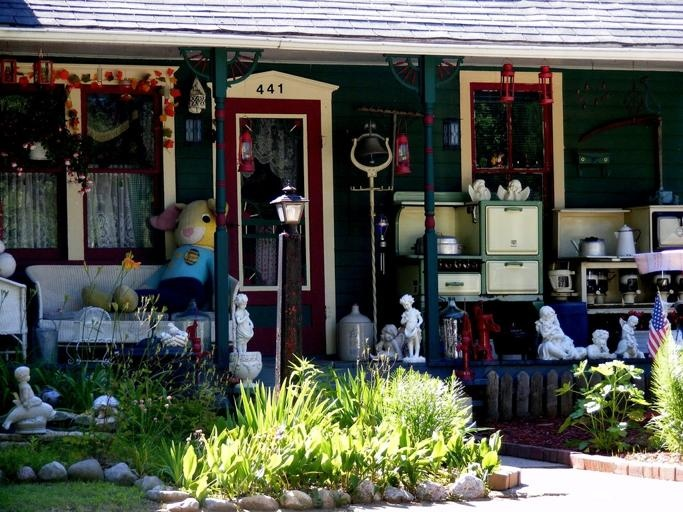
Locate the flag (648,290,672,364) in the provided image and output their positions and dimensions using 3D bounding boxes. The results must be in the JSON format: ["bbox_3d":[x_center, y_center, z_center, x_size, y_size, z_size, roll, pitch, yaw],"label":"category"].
[{"bbox_3d":[3.387,0.765,12.750,0.203,0.956,0.311,1,5,8],"label":"flag"}]

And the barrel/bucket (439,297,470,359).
[{"bbox_3d":[1.275,0.809,13.413,0.322,0.682,1.191,-1,-4,4],"label":"barrel/bucket"}]

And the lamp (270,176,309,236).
[{"bbox_3d":[-0.441,-0.445,11.068,0.263,0.738,0.449,0,-2,-13],"label":"lamp"}]

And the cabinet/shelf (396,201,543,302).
[{"bbox_3d":[1.543,-0.126,14.070,1.723,1.325,0.742,0,-4,-15],"label":"cabinet/shelf"}]

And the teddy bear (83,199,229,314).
[{"bbox_3d":[-1.782,0.045,13.438,1.080,1.322,0.956,-1,5,-16],"label":"teddy bear"}]

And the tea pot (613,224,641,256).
[{"bbox_3d":[3.428,-0.189,14.321,0.314,0.420,0.274,1,-1,8],"label":"tea pot"}]

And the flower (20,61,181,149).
[{"bbox_3d":[-2.694,-1.741,13.580,1.689,0.977,0.505,0,-4,-13],"label":"flower"}]

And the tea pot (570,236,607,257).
[{"bbox_3d":[2.986,-0.117,14.366,0.337,0.271,0.217,0,-1,12],"label":"tea pot"}]
